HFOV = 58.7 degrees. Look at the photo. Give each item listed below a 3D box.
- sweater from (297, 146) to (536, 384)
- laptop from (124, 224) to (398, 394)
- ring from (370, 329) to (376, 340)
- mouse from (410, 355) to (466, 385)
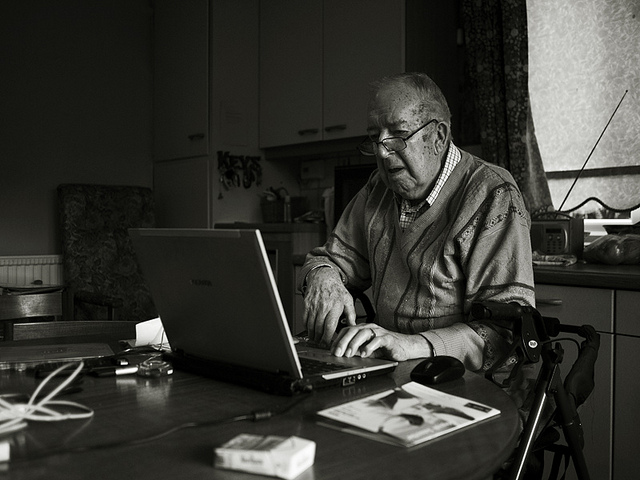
[{"bbox_3d":[0.316,0.056,1.692,0.635,1.040,0.474,-1,-1,37],"label":"sweater"},{"bbox_3d":[-0.124,0.136,1.252,0.369,0.330,0.426,-4,3,-41],"label":"laptop"},{"bbox_3d":[0.125,0.222,1.327,0.008,0.015,0.011,-11,9,-33],"label":"ring"},{"bbox_3d":[0.261,0.277,1.235,0.077,0.054,0.141,3,-1,45],"label":"mouse"}]
